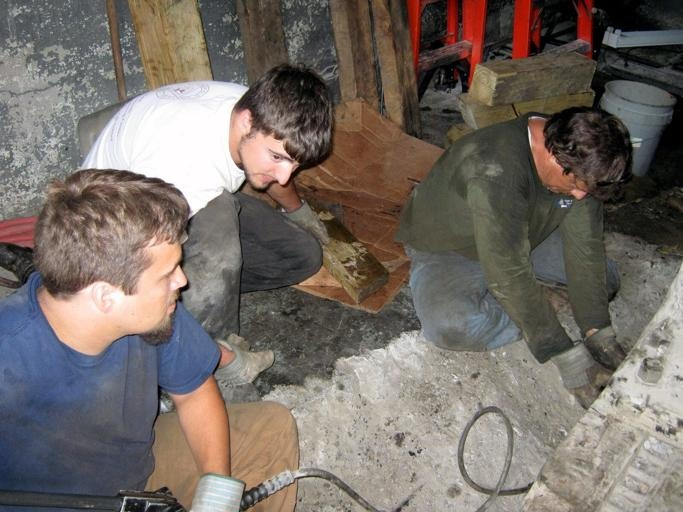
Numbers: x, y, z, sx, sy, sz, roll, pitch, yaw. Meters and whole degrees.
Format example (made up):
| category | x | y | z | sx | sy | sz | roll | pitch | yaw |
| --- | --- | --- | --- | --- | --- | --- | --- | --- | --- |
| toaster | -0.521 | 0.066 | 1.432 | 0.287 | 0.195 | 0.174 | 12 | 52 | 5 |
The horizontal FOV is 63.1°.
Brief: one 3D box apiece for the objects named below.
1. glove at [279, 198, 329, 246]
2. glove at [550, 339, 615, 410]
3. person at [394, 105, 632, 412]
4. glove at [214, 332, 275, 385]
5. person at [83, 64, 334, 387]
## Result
| category | x | y | z | sx | sy | sz | roll | pitch | yaw |
| --- | --- | --- | --- | --- | --- | --- | --- | --- | --- |
| glove | -0.231 | -0.240 | 3.714 | 0.211 | 0.366 | 0.086 | -39 | 15 | -15 |
| glove | 1.297 | 0.631 | 3.026 | 0.343 | 0.340 | 0.083 | -42 | 1 | 7 |
| person | 1.001 | -0.038 | 3.259 | 1.293 | 1.591 | 0.705 | 7 | 21 | 26 |
| glove | -0.539 | 0.565 | 3.022 | 0.323 | 0.235 | 0.114 | -30 | 49 | -33 |
| person | -0.677 | -0.143 | 2.792 | 1.162 | 1.486 | 0.892 | 36 | 38 | 0 |
